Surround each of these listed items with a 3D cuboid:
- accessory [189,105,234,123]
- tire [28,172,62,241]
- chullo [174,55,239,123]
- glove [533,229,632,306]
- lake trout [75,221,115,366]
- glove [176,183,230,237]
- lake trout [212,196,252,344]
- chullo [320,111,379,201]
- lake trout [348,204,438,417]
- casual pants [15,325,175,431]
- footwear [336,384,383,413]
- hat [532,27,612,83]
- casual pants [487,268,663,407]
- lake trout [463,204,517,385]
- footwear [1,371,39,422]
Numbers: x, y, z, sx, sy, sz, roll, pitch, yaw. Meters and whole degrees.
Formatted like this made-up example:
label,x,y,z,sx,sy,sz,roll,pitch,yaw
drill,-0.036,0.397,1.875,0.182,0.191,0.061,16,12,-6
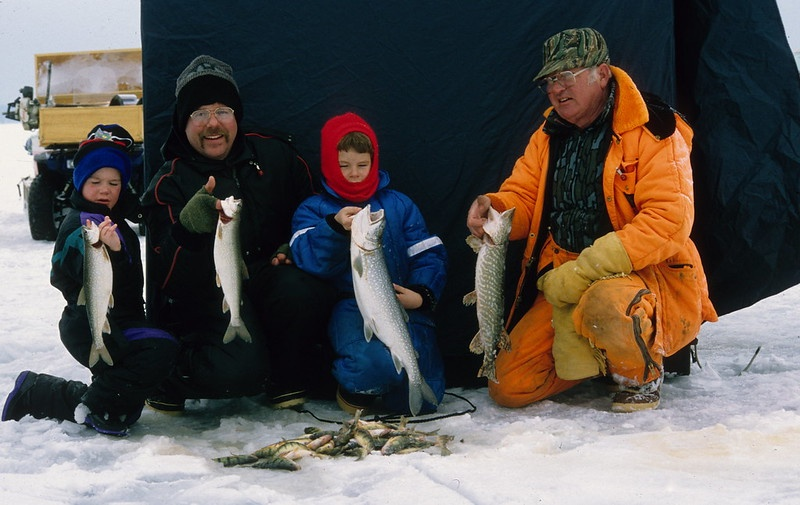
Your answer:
label,x,y,z,sx,sy,sz,roll,pitch,yaw
accessory,-1.324,-0.978,5.511,0.179,0.054,0.177,-6,-15,-16
tire,-4.857,-0.646,10.659,0.326,0.942,0.965,0,3,-5
chullo,-1.391,-1.211,5.636,0.405,0.431,0.408,-6,46,-18
glove,1.194,0.182,5.370,0.354,0.496,0.869,-27,-15,11
lake trout,-1.993,0.277,5.093,0.234,0.966,0.277,-9,16,-23
glove,-1.268,-0.300,5.250,0.420,0.361,0.237,-8,-7,29
lake trout,-1.129,0.141,5.215,0.213,1.056,0.269,-6,15,-13
chullo,-0.339,-0.738,5.740,0.454,0.550,0.658,-6,25,-10
lake trout,-0.063,0.363,5.135,0.595,1.355,0.252,7,17,32
casual pants,-2.114,0.860,5.193,0.889,0.717,0.369,13,-22,11
footwear,-0.294,1.068,5.638,0.197,0.220,0.227,-19,12,15
hat,1.193,-1.359,5.388,0.473,0.218,0.332,-13,-1,-36
casual pants,1.196,0.647,5.392,1.135,0.831,0.514,-11,-25,17
lake trout,0.582,0.289,5.447,0.396,1.147,0.301,5,3,-25
footwear,-2.595,0.981,5.299,0.156,0.393,0.145,-1,-29,36
